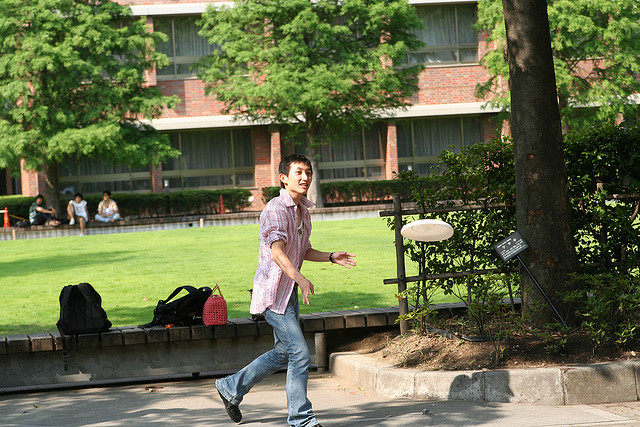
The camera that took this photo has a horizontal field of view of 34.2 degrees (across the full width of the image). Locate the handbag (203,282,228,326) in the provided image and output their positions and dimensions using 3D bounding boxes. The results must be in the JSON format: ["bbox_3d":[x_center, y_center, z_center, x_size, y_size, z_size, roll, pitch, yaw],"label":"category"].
[{"bbox_3d":[-1.930,1.618,18.949,0.442,0.797,0.490,-6,14,-7],"label":"handbag"}]

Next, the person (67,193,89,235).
[{"bbox_3d":[-7.809,-0.078,33.714,0.646,1.056,2.531,-7,13,-12],"label":"person"}]

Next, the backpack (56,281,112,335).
[{"bbox_3d":[-4.311,1.783,19.108,0.890,0.798,0.466,-5,-19,-12],"label":"backpack"}]

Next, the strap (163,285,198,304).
[{"bbox_3d":[-2.552,1.453,19.116,0.320,0.439,0.115,46,9,-41],"label":"strap"}]

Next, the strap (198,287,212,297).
[{"bbox_3d":[-2.074,1.434,19.117,0.215,0.125,0.226,20,18,41],"label":"strap"}]

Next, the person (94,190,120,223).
[{"bbox_3d":[-6.980,-0.203,34.186,0.828,0.993,0.947,-5,6,-29],"label":"person"}]

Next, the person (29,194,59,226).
[{"bbox_3d":[-8.955,-0.080,33.994,1.181,1.059,0.552,-5,1,20],"label":"person"}]
